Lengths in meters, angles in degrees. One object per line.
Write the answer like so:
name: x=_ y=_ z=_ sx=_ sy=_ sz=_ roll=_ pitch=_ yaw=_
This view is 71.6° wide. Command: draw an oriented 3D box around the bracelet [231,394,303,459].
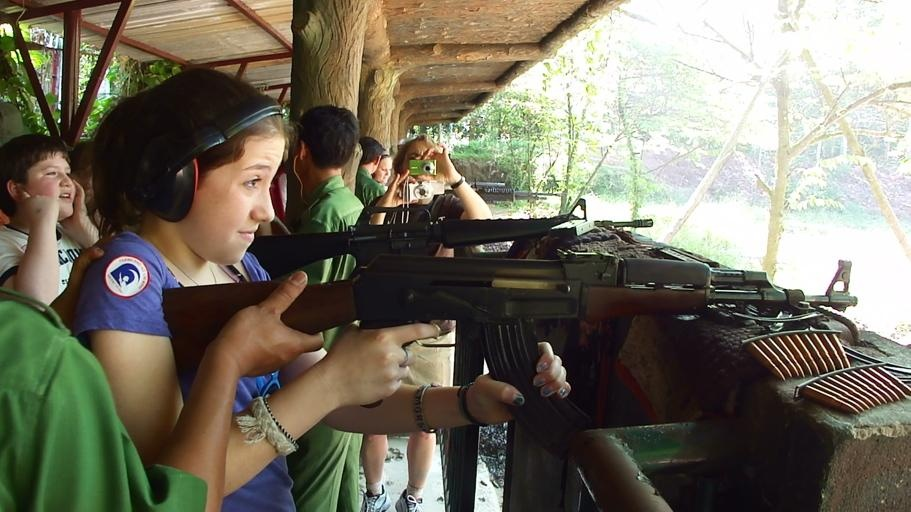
bracelet: x=-0.847 y=0.767 z=2.844 sx=0.118 sy=0.209 sz=0.266 roll=-39 pitch=19 yaw=-23

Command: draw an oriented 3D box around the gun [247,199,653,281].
gun: x=-0.034 y=-0.055 z=3.663 sx=2.341 sy=0.511 sz=0.174 roll=-3 pitch=28 yaw=2

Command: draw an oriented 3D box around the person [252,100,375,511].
person: x=-0.853 y=0.251 z=4.117 sx=0.840 sy=2.362 sz=1.008 roll=3 pitch=-1 yaw=-33

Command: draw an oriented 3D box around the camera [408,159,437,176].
camera: x=-0.253 y=-0.661 z=4.670 sx=0.215 sy=0.130 sz=0.115 roll=1 pitch=0 yaw=3

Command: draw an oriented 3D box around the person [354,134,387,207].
person: x=-0.834 y=-0.799 z=6.007 sx=0.346 sy=0.839 sz=0.460 roll=1 pitch=1 yaw=-14
